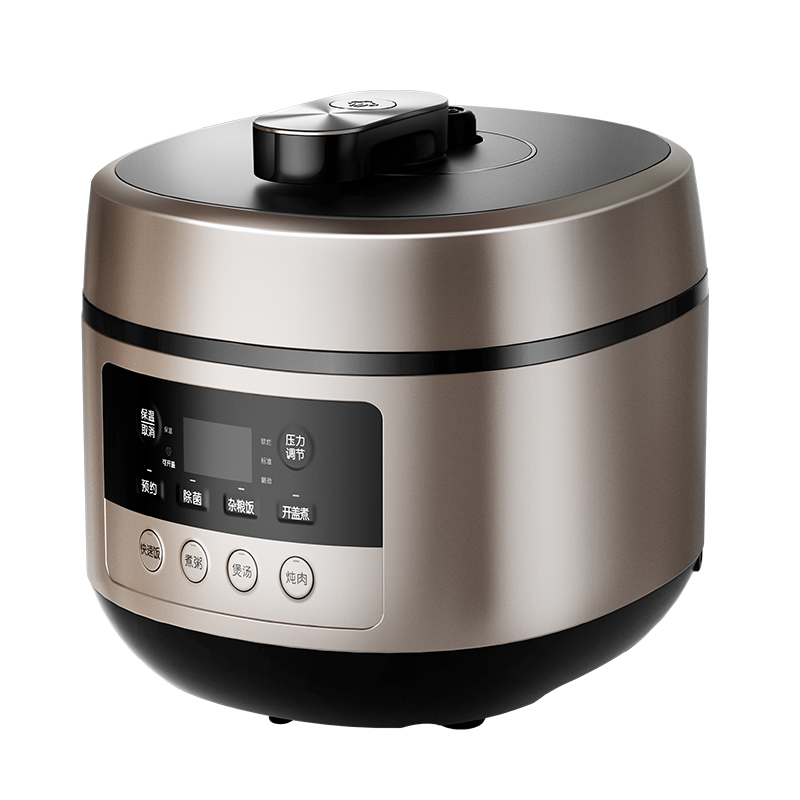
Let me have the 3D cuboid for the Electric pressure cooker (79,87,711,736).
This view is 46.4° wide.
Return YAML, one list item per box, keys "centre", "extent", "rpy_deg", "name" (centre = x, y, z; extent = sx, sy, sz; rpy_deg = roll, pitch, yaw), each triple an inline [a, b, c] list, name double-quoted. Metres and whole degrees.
- centre: [-0.013, -0.023, 0.881]
  extent: [0.493, 0.453, 0.535]
  rpy_deg: [10, 16, 37]
  name: "Electric pressure cooker"
